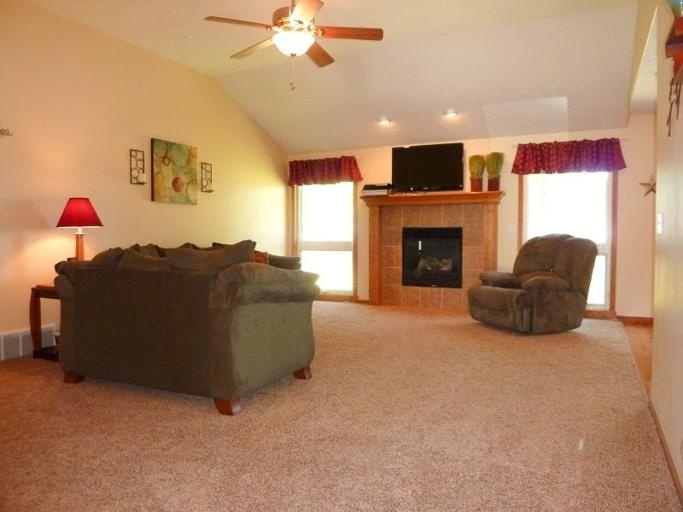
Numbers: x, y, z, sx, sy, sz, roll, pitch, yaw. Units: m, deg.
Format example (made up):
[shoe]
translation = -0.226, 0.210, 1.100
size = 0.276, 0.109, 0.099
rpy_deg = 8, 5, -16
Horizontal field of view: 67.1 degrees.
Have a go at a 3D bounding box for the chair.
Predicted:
[chair]
translation = 2.307, 0.315, 6.276
size = 1.230, 1.137, 1.148
rpy_deg = -2, 2, -15

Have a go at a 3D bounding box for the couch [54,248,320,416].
[couch]
translation = -1.300, 0.460, 4.329
size = 1.849, 1.225, 1.105
rpy_deg = 2, 3, 24

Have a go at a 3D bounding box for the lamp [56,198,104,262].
[lamp]
translation = -2.640, -0.236, 5.185
size = 0.380, 0.695, 0.400
rpy_deg = 6, 9, 20

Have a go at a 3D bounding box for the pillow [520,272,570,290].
[pillow]
translation = 2.352, 0.294, 5.925
size = 0.517, 0.163, 0.606
rpy_deg = 2, 9, 16

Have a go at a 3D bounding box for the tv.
[tv]
translation = 1.313, -1.338, 7.841
size = 1.088, 0.722, 0.098
rpy_deg = -1, 4, 3
